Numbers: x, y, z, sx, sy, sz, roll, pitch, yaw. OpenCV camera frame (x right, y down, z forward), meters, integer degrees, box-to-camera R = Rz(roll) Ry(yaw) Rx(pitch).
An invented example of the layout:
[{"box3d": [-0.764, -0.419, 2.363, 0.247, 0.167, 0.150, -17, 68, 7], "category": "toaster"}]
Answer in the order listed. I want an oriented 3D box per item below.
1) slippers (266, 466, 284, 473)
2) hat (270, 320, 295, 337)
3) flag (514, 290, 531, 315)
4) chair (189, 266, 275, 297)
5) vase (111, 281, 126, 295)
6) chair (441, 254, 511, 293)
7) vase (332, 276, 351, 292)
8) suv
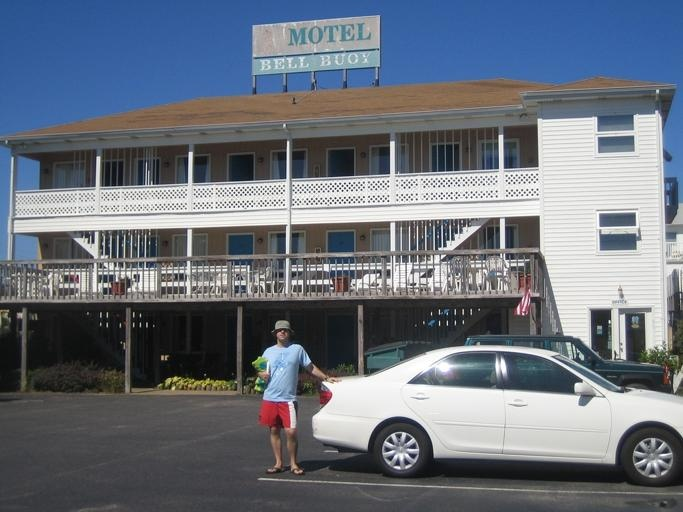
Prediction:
[{"box3d": [-1.297, 4.118, 21.289, 0.340, 0.123, 0.136, 4, -9, -4], "category": "slippers"}, {"box3d": [-1.186, 1.354, 21.579, 0.544, 0.373, 0.682, 0, 0, -19], "category": "hat"}, {"box3d": [5.125, 1.248, 30.709, 0.455, 0.715, 1.455, -1, -7, 10], "category": "flag"}, {"box3d": [-3.237, 0.710, 32.708, 2.443, 0.890, 1.008, -1, -6, 11], "category": "chair"}, {"box3d": [-6.801, 0.935, 33.140, 0.406, 0.335, 0.432, -2, -7, 0], "category": "vase"}, {"box3d": [3.946, 0.456, 31.513, 1.906, 1.089, 0.713, -1, -6, 9], "category": "chair"}, {"box3d": [-0.028, 0.800, 32.042, 0.425, 0.334, 0.432, -4, -8, 30], "category": "vase"}, {"box3d": [5.513, 2.834, 25.647, 4.529, 2.064, 1.993, -3, -2, 10], "category": "suv"}]
